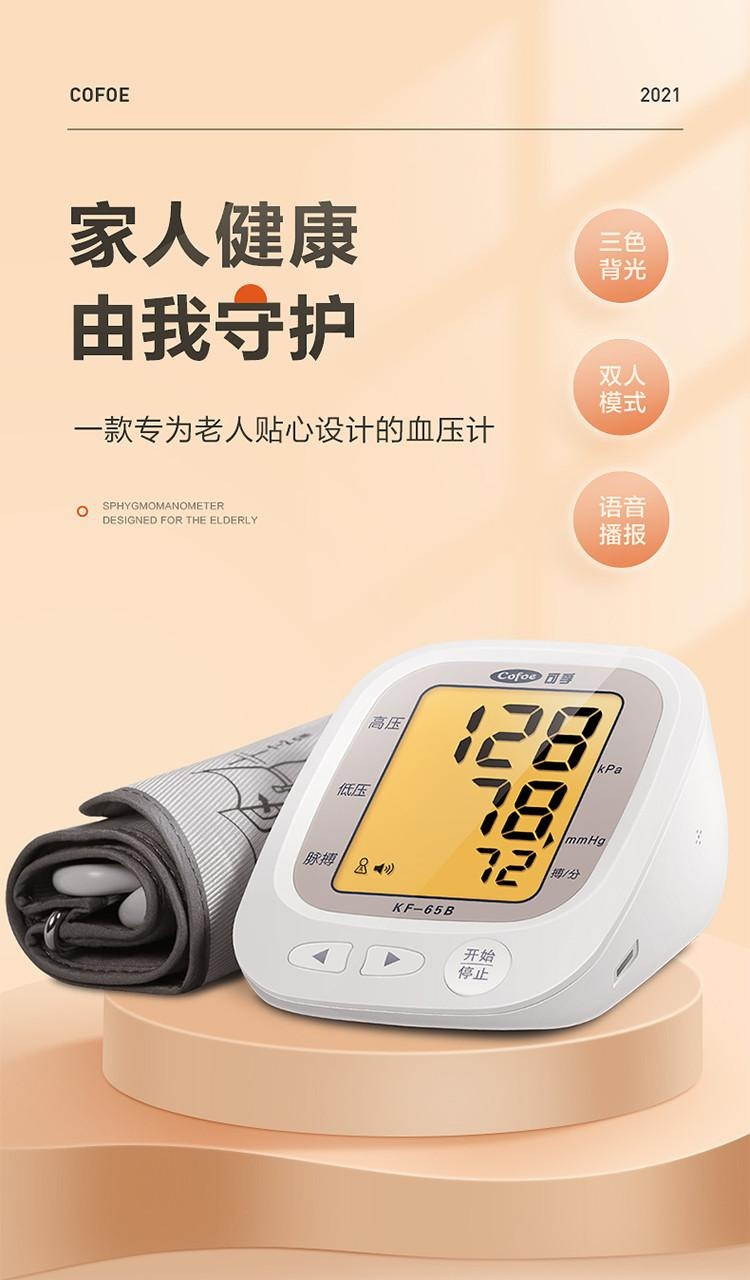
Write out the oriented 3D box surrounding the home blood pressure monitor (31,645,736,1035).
[{"bbox_3d":[0.059,0.068,0.768,0.285,0.227,0.377,3,9,28],"label":"home blood pressure monitor"}]
